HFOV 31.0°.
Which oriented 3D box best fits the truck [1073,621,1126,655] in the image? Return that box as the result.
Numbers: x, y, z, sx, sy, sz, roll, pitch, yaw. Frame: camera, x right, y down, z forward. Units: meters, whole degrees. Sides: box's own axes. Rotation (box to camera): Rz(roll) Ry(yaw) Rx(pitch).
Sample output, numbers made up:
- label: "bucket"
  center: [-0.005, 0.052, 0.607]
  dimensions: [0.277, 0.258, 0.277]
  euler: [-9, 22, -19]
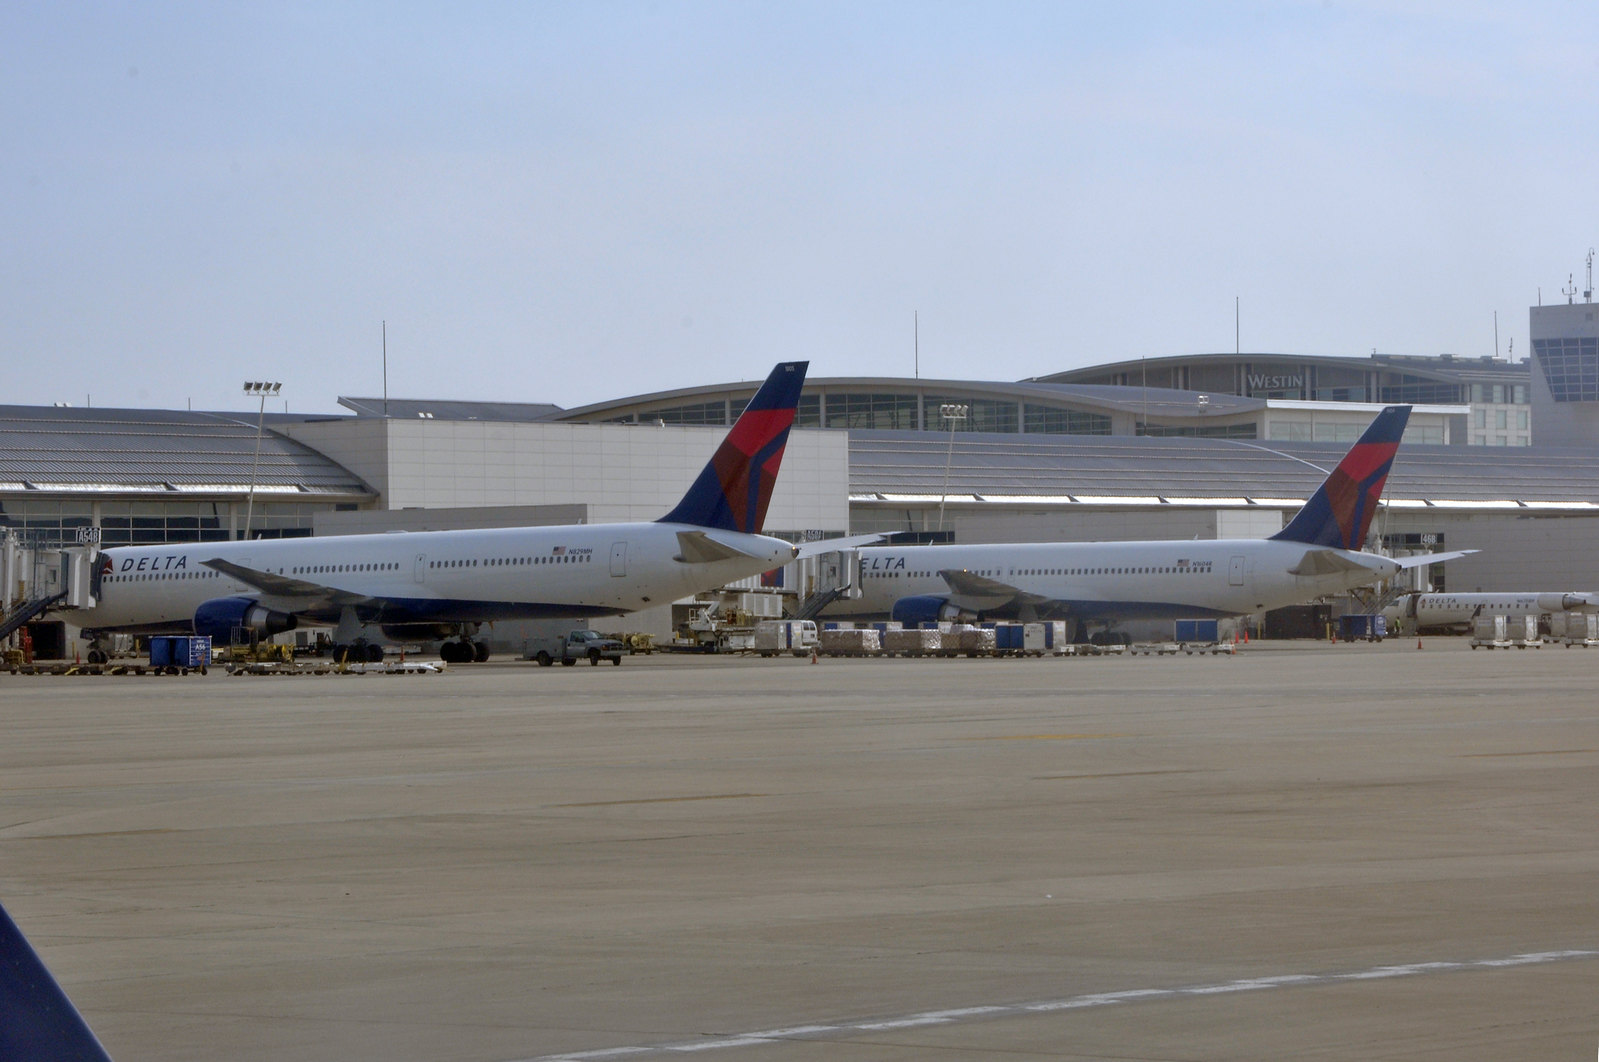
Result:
- label: "truck"
  center: [7.908, 2.804, 77.662]
  dimensions: [1.593, 0.502, 1.609]
  euler: [0, -4, -1]

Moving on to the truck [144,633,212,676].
- label: "truck"
  center: [-13.613, 2.728, 63.567]
  dimensions: [1.248, 0.840, 1.697]
  euler: [1, -5, -12]

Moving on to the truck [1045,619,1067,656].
- label: "truck"
  center: [6.260, 2.626, 71.910]
  dimensions: [0.574, 0.992, 3.068]
  euler: [-1, -5, 4]
